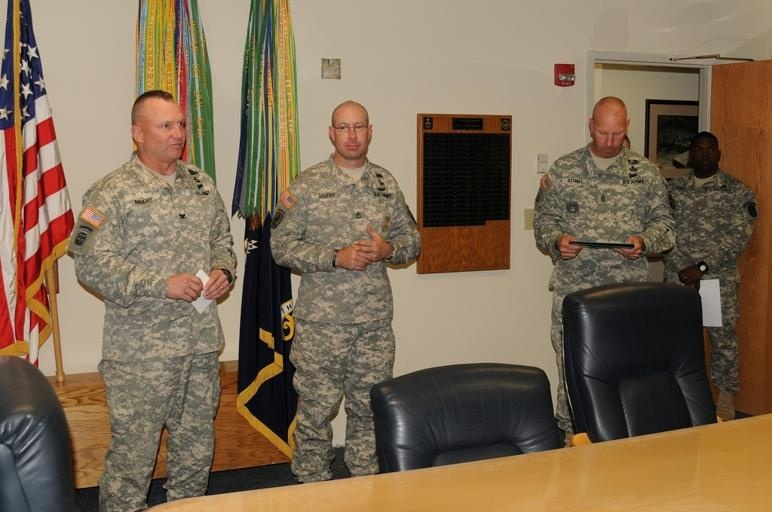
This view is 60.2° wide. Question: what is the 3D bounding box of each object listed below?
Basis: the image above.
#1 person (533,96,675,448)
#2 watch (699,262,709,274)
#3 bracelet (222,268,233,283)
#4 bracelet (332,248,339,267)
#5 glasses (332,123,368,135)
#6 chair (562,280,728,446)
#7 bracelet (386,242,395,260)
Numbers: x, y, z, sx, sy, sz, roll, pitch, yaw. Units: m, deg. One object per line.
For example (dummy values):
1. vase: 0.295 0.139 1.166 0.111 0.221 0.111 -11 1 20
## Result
1. person: 1.400 0.168 4.169 0.856 2.064 0.790 -6 15 1
2. watch: 2.306 0.090 4.828 0.092 0.084 0.030 -5 6 -23
3. bracelet: -0.812 0.103 3.457 0.026 0.065 0.049 -36 1 4
4. bracelet: -0.266 0.016 3.623 0.040 0.096 0.041 -2 5 10
5. glasses: -0.197 -0.708 3.768 0.229 0.082 0.141 -3 5 -4
6. chair: 1.052 0.417 3.075 0.628 0.789 0.704 -5 6 -15
7. bracelet: 0.025 -0.024 3.724 0.042 0.095 0.089 -2 5 13
